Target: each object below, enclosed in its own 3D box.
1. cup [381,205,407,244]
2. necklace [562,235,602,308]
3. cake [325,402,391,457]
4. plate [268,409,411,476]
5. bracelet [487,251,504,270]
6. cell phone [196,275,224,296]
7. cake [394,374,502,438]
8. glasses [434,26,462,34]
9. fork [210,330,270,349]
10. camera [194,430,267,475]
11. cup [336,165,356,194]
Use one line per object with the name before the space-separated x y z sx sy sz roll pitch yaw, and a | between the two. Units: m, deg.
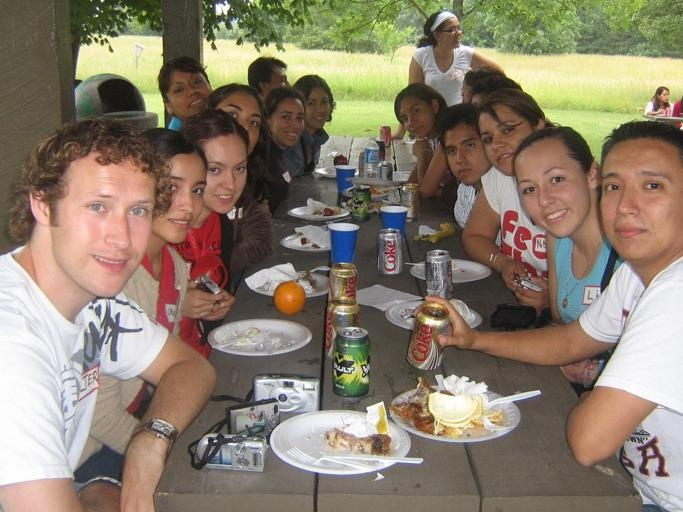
cup | 0.290 -0.200 3.306 0.206 0.198 0.195 -1 18 0
necklace | 1.063 0.075 2.414 0.154 0.197 0.262 -4 39 35
cake | 0.065 0.492 1.552 0.127 0.045 0.122 0 4 -33
plate | -0.015 0.531 1.535 0.218 0.024 0.200 -3 17 -7
bracelet | 0.824 0.023 2.955 0.032 0.082 0.063 25 -17 -35
cell phone | -0.589 0.130 2.423 0.123 0.070 0.034 30 14 15
cake | 0.309 0.456 1.652 0.196 0.040 0.189 4 21 9
glasses | 1.310 -2.754 6.624 0.336 0.084 0.128 -14 22 -27
fork | -0.380 0.318 2.086 0.198 0.033 0.075 -9 30 -41
camera | -0.297 0.536 1.488 0.172 0.101 0.060 1 12 6
cup | 0.010 -0.642 4.527 0.223 0.214 0.214 0 23 0
